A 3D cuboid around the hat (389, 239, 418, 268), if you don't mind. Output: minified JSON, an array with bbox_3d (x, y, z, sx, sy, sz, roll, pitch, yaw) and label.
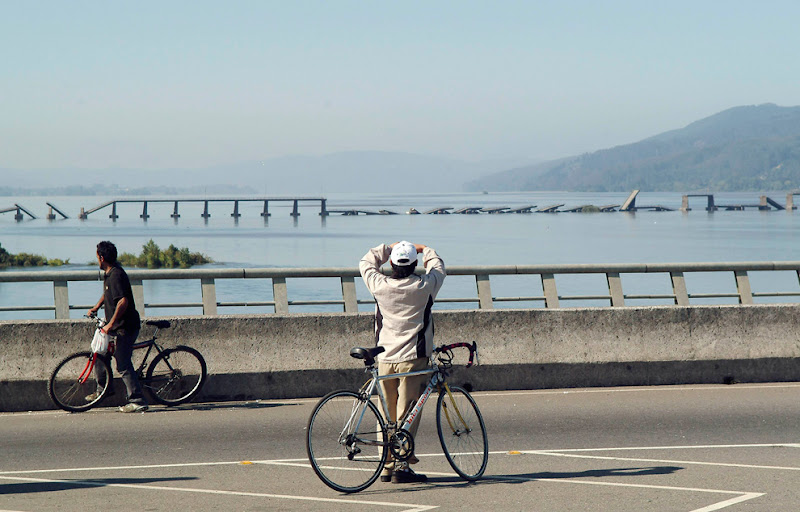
[{"bbox_3d":[0.096,-0.065,32.867,0.534,0.537,0.355,-2,-4,0],"label":"hat"}]

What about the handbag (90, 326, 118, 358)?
[{"bbox_3d":[-6.561,1.905,35.906,0.469,0.617,0.188,-2,-4,-11],"label":"handbag"}]
